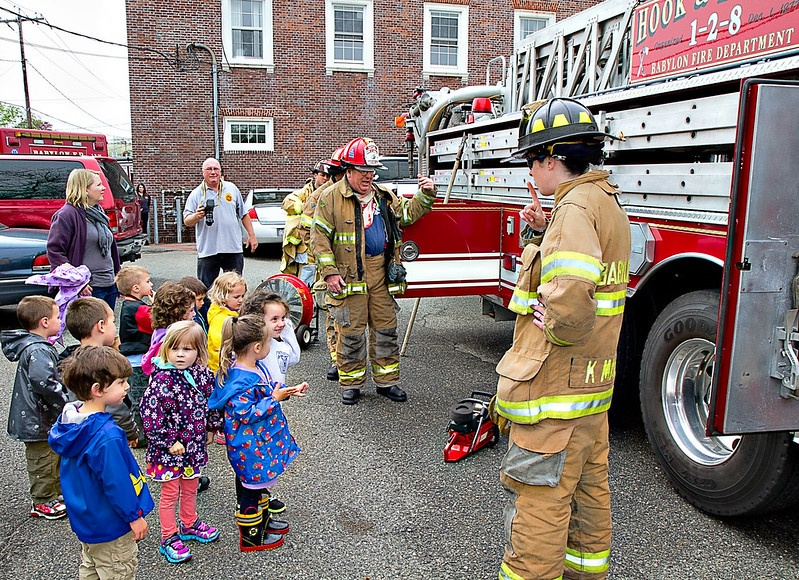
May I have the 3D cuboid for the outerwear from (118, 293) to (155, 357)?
[{"bbox_3d":[-2.083,0.265,5.370,0.328,0.435,0.299,8,6,36],"label":"outerwear"}]

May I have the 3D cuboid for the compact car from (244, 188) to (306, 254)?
[{"bbox_3d":[-2.932,-1.593,15.324,1.125,1.104,2.467,-3,18,-11],"label":"compact car"}]

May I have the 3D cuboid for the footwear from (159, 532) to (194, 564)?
[{"bbox_3d":[-1.315,1.511,3.990,0.096,0.113,0.219,0,0,-44],"label":"footwear"}]

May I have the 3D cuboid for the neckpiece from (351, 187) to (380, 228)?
[{"bbox_3d":[-0.302,-0.716,5.955,0.296,0.388,0.128,-12,10,-34],"label":"neckpiece"}]

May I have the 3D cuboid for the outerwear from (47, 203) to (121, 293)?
[{"bbox_3d":[-3.127,-0.409,6.644,0.435,0.887,0.804,4,5,29],"label":"outerwear"}]

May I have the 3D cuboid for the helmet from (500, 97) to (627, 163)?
[{"bbox_3d":[0.834,-0.822,3.452,0.414,0.307,0.550,-8,11,-42],"label":"helmet"}]

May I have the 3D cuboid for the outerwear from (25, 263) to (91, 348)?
[{"bbox_3d":[-3.056,0.090,6.212,0.580,0.690,0.369,-10,28,-31],"label":"outerwear"}]

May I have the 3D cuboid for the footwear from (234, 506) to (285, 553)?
[{"bbox_3d":[-0.867,1.391,4.145,0.341,0.348,0.168,-5,15,-22],"label":"footwear"}]

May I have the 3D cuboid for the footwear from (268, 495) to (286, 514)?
[{"bbox_3d":[-0.785,1.363,4.353,0.081,0.071,0.173,0,-1,-37],"label":"footwear"}]

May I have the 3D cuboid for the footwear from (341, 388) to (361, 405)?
[{"bbox_3d":[-0.429,0.952,6.070,0.105,0.108,0.253,0,-7,1],"label":"footwear"}]

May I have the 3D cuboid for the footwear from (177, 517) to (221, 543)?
[{"bbox_3d":[-1.225,1.467,4.155,0.243,0.126,0.112,2,2,-10],"label":"footwear"}]

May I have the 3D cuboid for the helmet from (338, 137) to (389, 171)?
[{"bbox_3d":[-0.328,-1.175,5.831,0.332,0.198,0.263,11,21,33],"label":"helmet"}]

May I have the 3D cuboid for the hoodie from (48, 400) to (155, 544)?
[{"bbox_3d":[-1.510,0.934,3.422,0.444,0.670,0.246,5,14,23],"label":"hoodie"}]

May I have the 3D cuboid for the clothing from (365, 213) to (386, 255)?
[{"bbox_3d":[-0.210,-0.507,6.010,0.220,0.324,0.123,-5,5,-28],"label":"clothing"}]

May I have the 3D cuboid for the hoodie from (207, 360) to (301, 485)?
[{"bbox_3d":[-0.853,0.778,3.927,0.488,0.673,0.238,-3,13,-12],"label":"hoodie"}]

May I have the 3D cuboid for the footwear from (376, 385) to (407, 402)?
[{"bbox_3d":[-0.065,0.933,6.232,0.281,0.120,0.116,3,6,43],"label":"footwear"}]

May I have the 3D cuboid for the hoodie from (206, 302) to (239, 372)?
[{"bbox_3d":[-1.179,0.317,4.528,0.237,0.445,0.446,-2,8,-12],"label":"hoodie"}]

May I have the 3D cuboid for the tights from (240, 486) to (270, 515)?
[{"bbox_3d":[-0.855,1.224,3.984,0.169,0.186,0.130,-4,13,-16],"label":"tights"}]

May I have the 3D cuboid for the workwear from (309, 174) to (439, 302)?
[{"bbox_3d":[-0.221,-0.449,6.146,1.118,1.087,0.574,-11,16,-41],"label":"workwear"}]

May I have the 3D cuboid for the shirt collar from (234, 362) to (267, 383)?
[{"bbox_3d":[-0.874,0.472,3.985,0.151,0.083,0.112,16,4,0],"label":"shirt collar"}]
